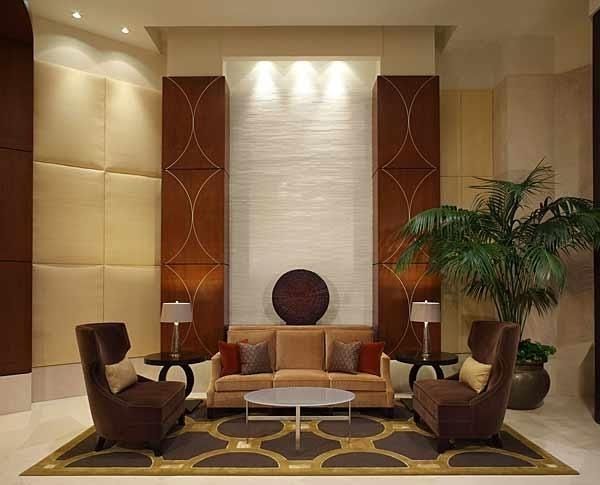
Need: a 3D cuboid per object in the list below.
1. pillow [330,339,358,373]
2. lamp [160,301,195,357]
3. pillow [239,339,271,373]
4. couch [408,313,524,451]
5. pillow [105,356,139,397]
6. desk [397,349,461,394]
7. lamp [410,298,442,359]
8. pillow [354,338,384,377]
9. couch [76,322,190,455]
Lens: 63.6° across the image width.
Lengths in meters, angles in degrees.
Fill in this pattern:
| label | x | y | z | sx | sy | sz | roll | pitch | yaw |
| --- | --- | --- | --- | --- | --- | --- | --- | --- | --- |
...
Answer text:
| label | x | y | z | sx | sy | sz | roll | pitch | yaw |
| --- | --- | --- | --- | --- | --- | --- | --- | --- | --- |
| pillow | 0.548 | 1.434 | 6.063 | 0.289 | 0.305 | 0.106 | -12 | -31 | 40 |
| lamp | -1.561 | 1.085 | 6.116 | 0.548 | 0.695 | 0.549 | 2 | -5 | -35 |
| pillow | -0.572 | 1.423 | 6.024 | 0.319 | 0.319 | 0.119 | -2 | -15 | -20 |
| couch | 1.648 | 1.425 | 5.372 | 1.068 | 1.384 | 1.281 | 1 | -9 | 4 |
| pillow | -1.882 | 1.410 | 5.103 | 0.173 | 0.313 | 0.547 | -8 | -3 | 2 |
| desk | 1.546 | 1.489 | 5.960 | 0.570 | 0.393 | 0.593 | 0 | -6 | -1 |
| lamp | 1.574 | 1.075 | 6.061 | 0.545 | 0.668 | 0.556 | -5 | -10 | 40 |
| pillow | 0.866 | 1.457 | 6.081 | 0.215 | 0.394 | 0.430 | -7 | -3 | -35 |
| couch | -1.719 | 1.490 | 5.137 | 1.180 | 1.225 | 1.231 | 1 | -5 | -27 |
